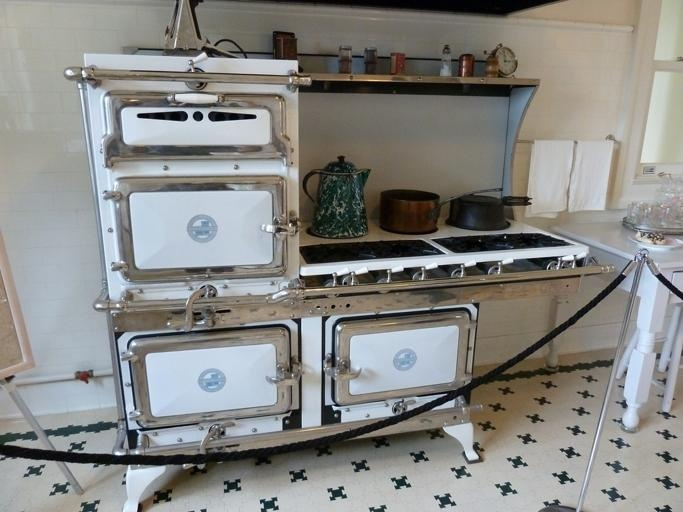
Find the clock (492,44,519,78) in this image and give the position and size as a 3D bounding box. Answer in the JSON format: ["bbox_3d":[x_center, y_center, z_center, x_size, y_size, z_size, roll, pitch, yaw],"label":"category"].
[{"bbox_3d":[0.854,-1.023,2.970,0.215,0.176,0.048,-17,15,-27],"label":"clock"}]
